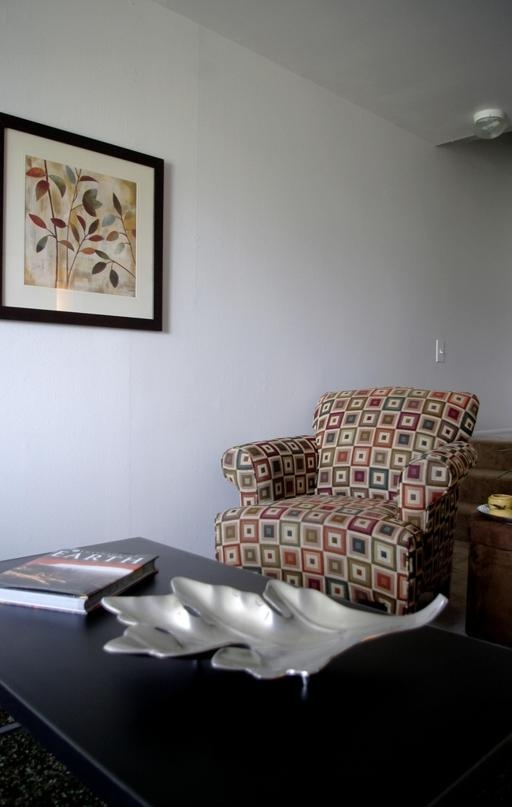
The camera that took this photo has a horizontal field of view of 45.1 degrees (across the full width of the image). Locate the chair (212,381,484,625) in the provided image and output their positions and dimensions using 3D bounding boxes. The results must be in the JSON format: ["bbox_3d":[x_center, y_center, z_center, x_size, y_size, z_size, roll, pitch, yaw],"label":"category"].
[{"bbox_3d":[0.316,0.295,2.167,0.755,0.812,0.764,0,-4,37],"label":"chair"}]
